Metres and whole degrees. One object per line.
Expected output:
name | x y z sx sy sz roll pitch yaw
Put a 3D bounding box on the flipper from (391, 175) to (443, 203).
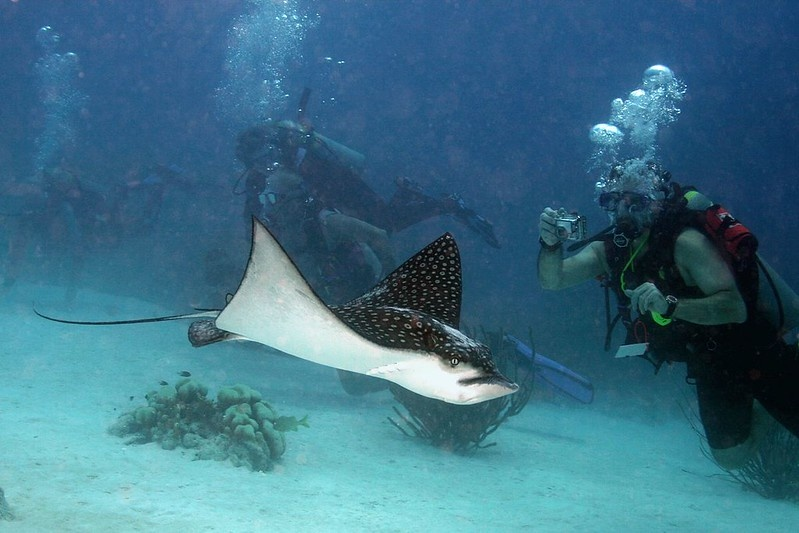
flipper | 0.568 -2.511 23.684 1.124 0.264 1.049 19 4 -26
